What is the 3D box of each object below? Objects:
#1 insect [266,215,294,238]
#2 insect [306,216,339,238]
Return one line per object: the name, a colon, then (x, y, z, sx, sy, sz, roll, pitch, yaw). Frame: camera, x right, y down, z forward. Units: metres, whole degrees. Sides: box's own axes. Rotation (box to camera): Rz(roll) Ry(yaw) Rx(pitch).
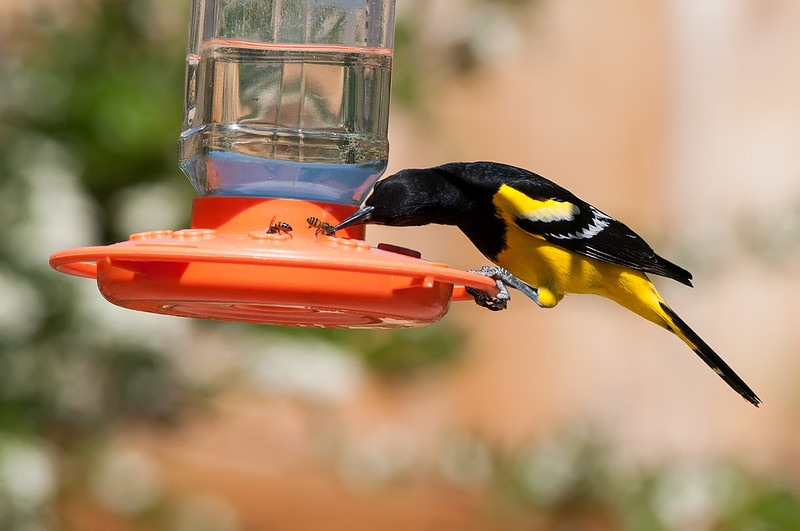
insect: (-0.448, -0.146, 3.586, 0.069, 0.047, 0.084, 8, 12, 22)
insect: (-0.290, -0.144, 3.678, 0.089, 0.081, 0.027, 31, -46, -29)
